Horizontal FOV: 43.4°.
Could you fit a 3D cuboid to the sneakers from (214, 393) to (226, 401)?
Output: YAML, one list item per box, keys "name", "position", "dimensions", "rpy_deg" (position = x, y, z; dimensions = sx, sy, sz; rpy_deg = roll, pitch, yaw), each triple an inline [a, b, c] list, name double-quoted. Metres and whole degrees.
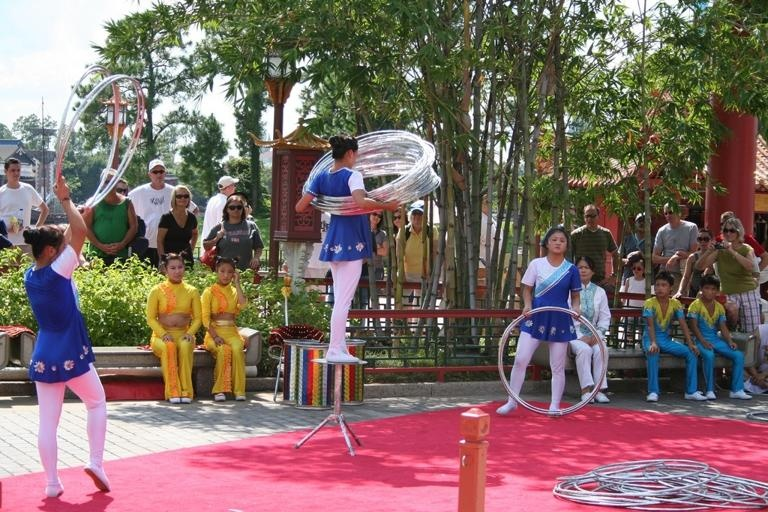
- name: "sneakers"
  position: [-1.868, 1.605, 11.033]
  dimensions: [0.120, 0.091, 0.126]
  rpy_deg: [0, 7, -10]

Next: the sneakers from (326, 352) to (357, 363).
- name: "sneakers"
  position: [-0.403, 0.957, 9.088]
  dimensions: [0.212, 0.077, 0.130]
  rpy_deg: [0, -1, 7]

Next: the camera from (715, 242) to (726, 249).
- name: "camera"
  position: [4.445, -0.129, 12.757]
  dimensions: [0.097, 0.024, 0.099]
  rpy_deg: [-1, 31, 6]

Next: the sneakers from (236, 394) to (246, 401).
- name: "sneakers"
  position: [-1.650, 1.630, 11.108]
  dimensions: [0.113, 0.066, 0.091]
  rpy_deg: [0, 7, -13]

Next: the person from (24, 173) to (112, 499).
- name: "person"
  position: [-2.635, 0.638, 7.996]
  dimensions: [0.621, 2.575, 0.678]
  rpy_deg: [-1, 8, -21]

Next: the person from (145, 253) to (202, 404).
- name: "person"
  position: [-2.380, 0.993, 10.997]
  dimensions: [0.618, 1.281, 0.543]
  rpy_deg: [0, 8, -15]

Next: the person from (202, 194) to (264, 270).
- name: "person"
  position: [-2.198, -0.304, 13.739]
  dimensions: [0.657, 1.640, 0.561]
  rpy_deg: [-2, -3, -22]

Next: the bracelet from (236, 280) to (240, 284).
- name: "bracelet"
  position: [-1.727, 0.310, 11.402]
  dimensions: [0.066, 0.041, 0.041]
  rpy_deg: [0, 28, -1]

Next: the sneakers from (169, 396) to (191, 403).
- name: "sneakers"
  position: [-2.286, 1.624, 10.861]
  dimensions: [0.213, 0.074, 0.083]
  rpy_deg: [3, -9, -5]
